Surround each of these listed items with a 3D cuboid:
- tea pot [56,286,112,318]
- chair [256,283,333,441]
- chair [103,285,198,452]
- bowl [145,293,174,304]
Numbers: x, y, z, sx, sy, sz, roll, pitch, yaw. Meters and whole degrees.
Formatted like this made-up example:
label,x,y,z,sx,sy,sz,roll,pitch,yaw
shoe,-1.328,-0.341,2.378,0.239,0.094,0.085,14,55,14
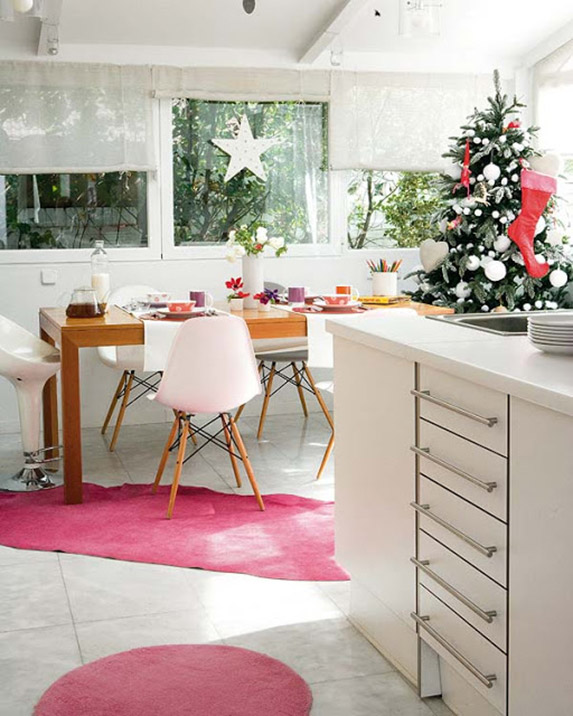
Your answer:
label,x,y,z,sx,sy,sz,roll,pitch,yaw
tea pot,-0.966,-0.283,2.940,0.254,0.146,0.162,-2,11,-6
chair,0.006,0.010,3.929,0.548,0.778,0.543,-9,3,5
chair,-0.906,0.052,3.798,0.699,0.904,0.593,5,2,-15
bowl,-0.671,-0.328,3.337,0.144,0.048,0.120,1,3,38
